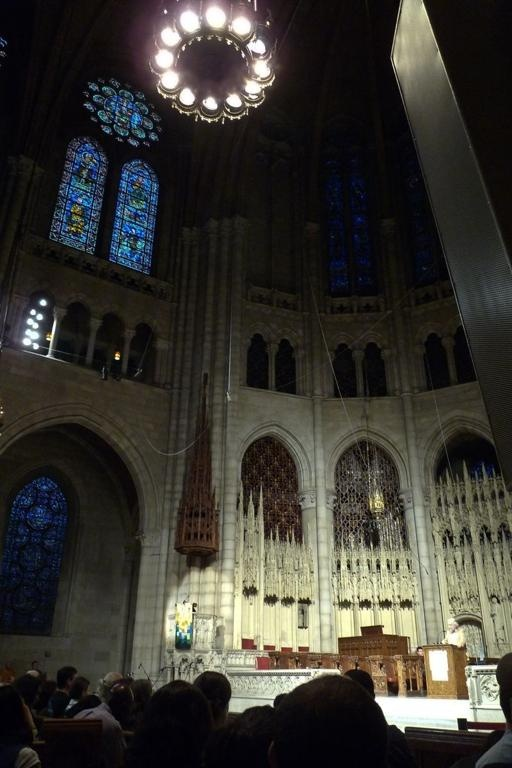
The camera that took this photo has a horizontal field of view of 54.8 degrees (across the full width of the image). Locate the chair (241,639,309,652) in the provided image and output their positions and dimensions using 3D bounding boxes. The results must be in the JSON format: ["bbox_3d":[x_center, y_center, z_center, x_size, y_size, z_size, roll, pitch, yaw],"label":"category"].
[{"bbox_3d":[0.501,7.594,14.407,2.139,0.378,0.510,19,-30,-36],"label":"chair"}]

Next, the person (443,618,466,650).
[{"bbox_3d":[4.221,5.325,10.560,0.360,0.565,1.462,-7,-25,17],"label":"person"}]
